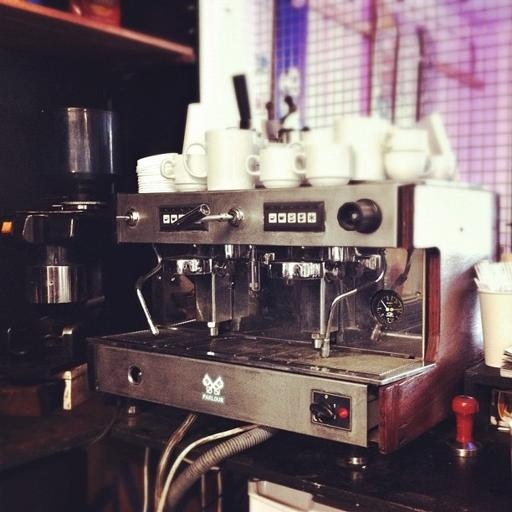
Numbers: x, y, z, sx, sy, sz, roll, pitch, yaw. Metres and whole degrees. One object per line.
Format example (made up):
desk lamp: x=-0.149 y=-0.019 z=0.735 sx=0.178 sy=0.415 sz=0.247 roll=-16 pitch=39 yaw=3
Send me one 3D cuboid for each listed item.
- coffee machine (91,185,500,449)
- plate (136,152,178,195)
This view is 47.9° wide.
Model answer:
coffee machine: x=0.113 y=0.109 z=1.287 sx=0.773 sy=0.549 sz=0.611 roll=-1 pitch=-1 yaw=35
plate: x=-0.254 y=-0.211 z=1.475 sx=0.111 sy=0.090 sz=0.092 roll=2 pitch=9 yaw=36
